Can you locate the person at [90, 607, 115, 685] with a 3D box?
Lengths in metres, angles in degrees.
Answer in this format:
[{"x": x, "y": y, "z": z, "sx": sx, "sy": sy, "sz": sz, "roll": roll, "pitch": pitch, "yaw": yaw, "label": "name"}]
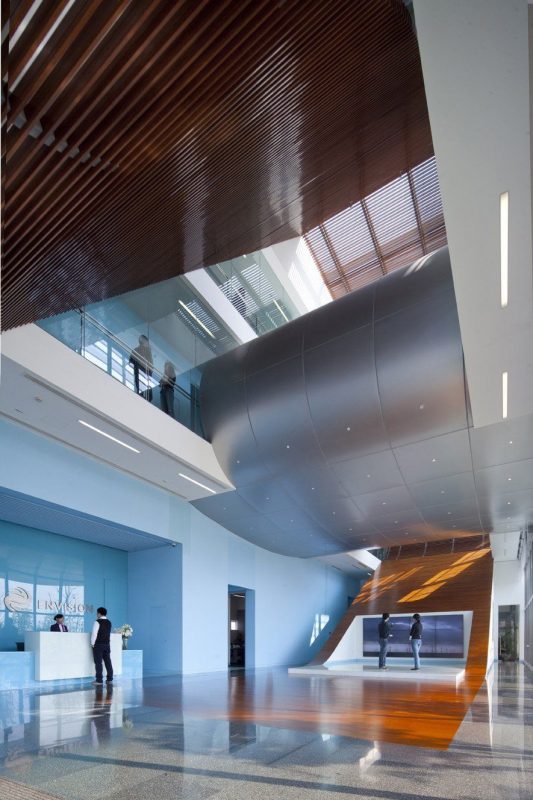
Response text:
[{"x": -3.008, "y": 4.491, "z": 10.566, "sx": 0.411, "sy": 1.283, "sz": 0.861, "roll": 2, "pitch": -16, "yaw": -15, "label": "person"}]
